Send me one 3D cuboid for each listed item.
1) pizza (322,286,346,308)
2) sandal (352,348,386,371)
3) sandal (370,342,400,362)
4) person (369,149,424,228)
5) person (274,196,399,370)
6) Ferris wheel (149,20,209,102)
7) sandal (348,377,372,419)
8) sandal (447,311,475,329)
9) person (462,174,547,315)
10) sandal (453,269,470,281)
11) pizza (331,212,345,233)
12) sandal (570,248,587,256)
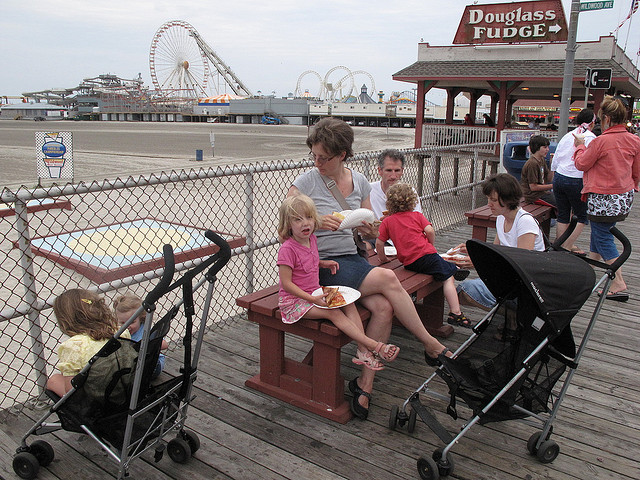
[{"bbox_3d":[0.095,0.388,3.349,0.128,0.043,0.123,-1,42,2],"label":"pizza"},{"bbox_3d":[0.343,0.880,3.502,0.240,0.119,0.114,8,9,30],"label":"sandal"},{"bbox_3d":[0.464,0.792,3.378,0.097,0.065,0.229,-46,21,-20],"label":"sandal"},{"bbox_3d":[0.696,-0.496,4.916,0.640,0.876,0.479,5,3,-6],"label":"person"},{"bbox_3d":[0.048,0.337,3.538,0.883,1.336,0.576,2,13,7],"label":"person"},{"bbox_3d":[-7.743,-10.091,26.891,4.232,4.581,1.284,25,42,11],"label":"Ferris wheel"},{"bbox_3d":[0.290,1.177,3.500,0.156,0.231,0.216,2,12,3],"label":"sandal"},{"bbox_3d":[1.202,0.688,4.038,0.265,0.115,0.107,6,13,26],"label":"sandal"},{"bbox_3d":[1.683,0.014,4.265,0.485,0.429,1.846,8,21,26],"label":"person"},{"bbox_3d":[1.292,0.313,4.365,0.095,0.080,0.235,54,27,16],"label":"sandal"},{"bbox_3d":[0.149,-0.152,3.776,0.038,0.131,0.143,11,-5,9],"label":"pizza"},{"bbox_3d":[2.892,0.125,5.298,0.226,0.063,0.082,5,12,19],"label":"sandal"}]
